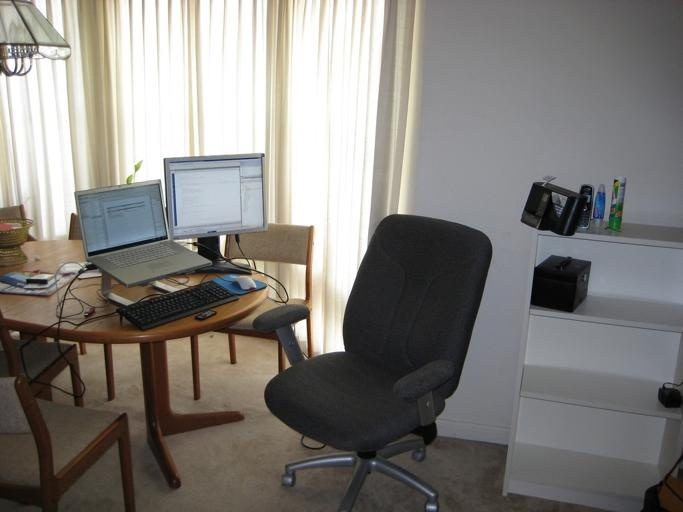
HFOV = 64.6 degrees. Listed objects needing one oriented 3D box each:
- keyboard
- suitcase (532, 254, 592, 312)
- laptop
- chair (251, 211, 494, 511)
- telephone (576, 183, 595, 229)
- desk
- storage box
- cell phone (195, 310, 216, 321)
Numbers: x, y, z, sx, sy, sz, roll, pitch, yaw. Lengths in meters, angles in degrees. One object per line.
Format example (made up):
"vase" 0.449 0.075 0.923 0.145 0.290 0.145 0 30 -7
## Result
"keyboard" -0.781 0.234 2.627 0.218 0.098 0.531 14 19 43
"suitcase" 1.108 0.122 2.740 0.221 0.225 0.311 10 17 30
"laptop" -1.035 -0.105 2.771 0.591 0.605 0.442 -16 22 -34
"chair" 0.180 0.567 2.789 1.155 1.379 1.182 19 24 41
"telephone" 1.176 -0.237 2.635 0.065 0.226 0.031 4 17 16
"desk" -1.162 0.444 3.094 1.350 0.822 1.244 2 17 3
"storage box" 1.067 0.142 2.737 0.267 0.218 0.327 14 27 31
"cell phone" -0.647 0.278 2.566 0.043 0.016 0.072 14 22 22
